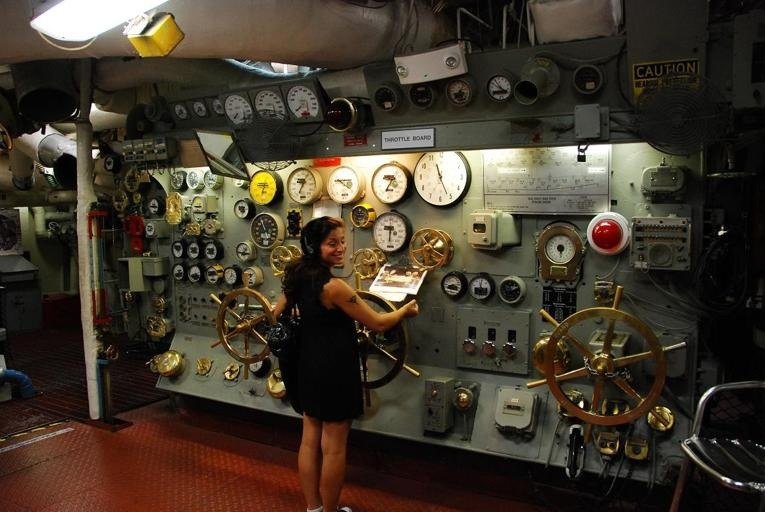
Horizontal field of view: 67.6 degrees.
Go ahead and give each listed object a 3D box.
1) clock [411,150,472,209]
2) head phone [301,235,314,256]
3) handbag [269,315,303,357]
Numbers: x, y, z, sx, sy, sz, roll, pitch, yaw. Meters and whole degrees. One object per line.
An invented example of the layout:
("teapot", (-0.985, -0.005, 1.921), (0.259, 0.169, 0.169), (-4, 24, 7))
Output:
("clock", (0.554, -0.696, 5.141), (0.500, 0.528, 0.105), (0, 5, 30))
("head phone", (-0.575, -0.082, 4.370), (0.053, 0.144, 0.145), (-12, 7, -3))
("handbag", (-0.750, 0.619, 4.367), (0.210, 0.301, 0.105), (-5, -14, 30))
